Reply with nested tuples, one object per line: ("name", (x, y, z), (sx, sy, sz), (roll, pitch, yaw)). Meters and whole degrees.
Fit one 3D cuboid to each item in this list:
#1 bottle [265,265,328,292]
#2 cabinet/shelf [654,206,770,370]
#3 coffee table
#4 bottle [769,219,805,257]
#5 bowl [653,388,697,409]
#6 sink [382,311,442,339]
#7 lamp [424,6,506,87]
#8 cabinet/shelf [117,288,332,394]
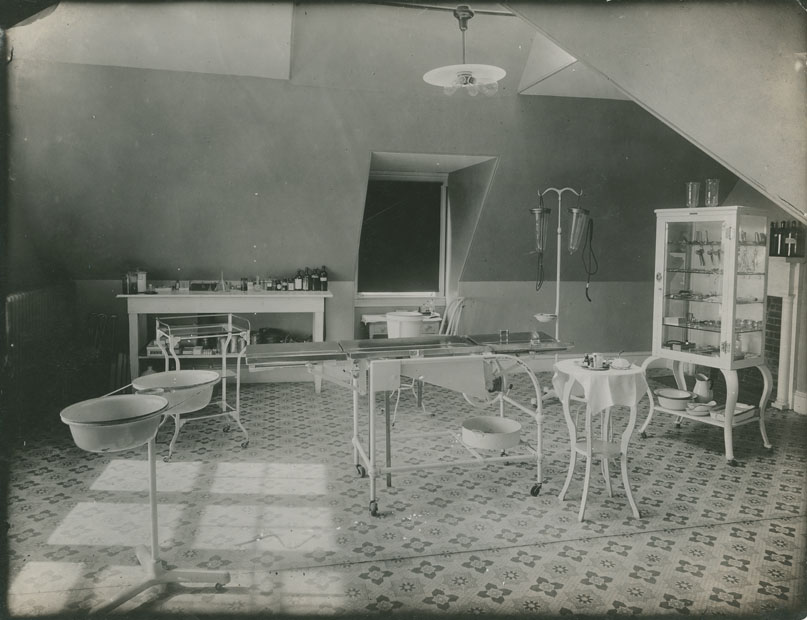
("bottle", (-0.956, -0.280, 6.660), (0.627, 0.219, 0.119), (0, 3, -20))
("cabinet/shelf", (2.177, -0.159, 5.333), (0.758, 1.139, 0.396), (2, 3, 23))
("coffee table", (1.301, 0.763, 5.006), (0.570, 0.911, 1.428), (2, 3, 14))
("bottle", (2.802, -0.522, 5.437), (0.313, 0.249, 0.197), (1, 3, 0))
("bowl", (2.031, 0.669, 5.594), (0.261, 0.125, 0.292), (2, 3, 20))
("sink", (0.029, 0.118, 6.267), (0.353, 0.134, 0.242), (2, 3, 42))
("lamp", (0.458, -1.822, 5.331), (0.434, 0.475, 0.588), (4, 4, 45))
("cabinet/shelf", (-1.531, 0.200, 6.398), (1.702, 0.736, 0.192), (0, 3, -19))
